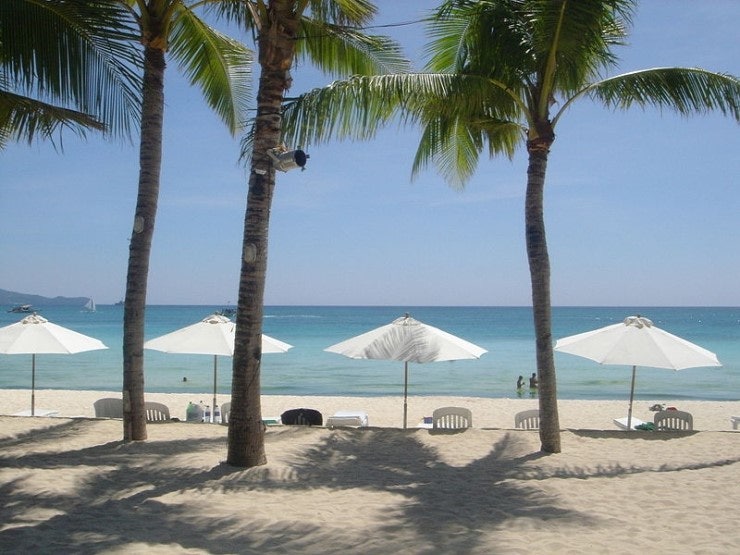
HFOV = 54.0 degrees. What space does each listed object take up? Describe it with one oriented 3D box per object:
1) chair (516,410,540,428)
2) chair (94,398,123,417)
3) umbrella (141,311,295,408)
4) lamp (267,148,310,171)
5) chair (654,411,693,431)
[{"bbox_3d":[3.138,2.828,14.477,0.397,0.451,1.540,-1,-3,14],"label":"chair"},{"bbox_3d":[-5.266,2.620,14.581,0.518,0.344,0.521,-3,-6,40],"label":"chair"},{"bbox_3d":[-3.037,1.416,14.678,2.430,1.587,2.355,-1,-6,21],"label":"umbrella"},{"bbox_3d":[-1.260,-1.876,11.466,0.407,0.384,0.645,2,-4,-41],"label":"lamp"},{"bbox_3d":[5.972,2.812,14.276,0.569,0.295,0.543,0,3,13],"label":"chair"}]
